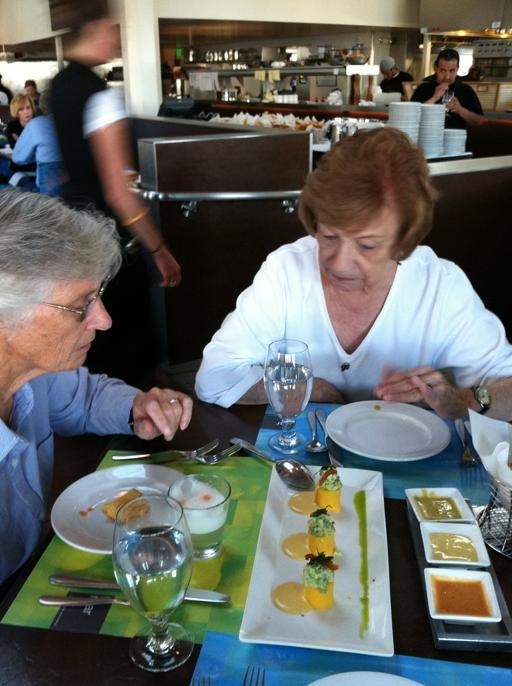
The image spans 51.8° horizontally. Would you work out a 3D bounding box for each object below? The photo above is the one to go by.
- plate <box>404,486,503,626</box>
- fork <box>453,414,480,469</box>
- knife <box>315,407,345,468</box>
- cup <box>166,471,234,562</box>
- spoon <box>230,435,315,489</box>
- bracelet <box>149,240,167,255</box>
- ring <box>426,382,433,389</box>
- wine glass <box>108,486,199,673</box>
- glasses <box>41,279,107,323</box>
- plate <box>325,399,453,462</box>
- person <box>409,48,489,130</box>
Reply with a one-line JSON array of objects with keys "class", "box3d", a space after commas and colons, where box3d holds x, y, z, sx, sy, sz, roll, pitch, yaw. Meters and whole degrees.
[{"class": "plate", "box3d": [0.243, 0.256, 0.650, 0.065, 0.018, 0.193, 4, 24, 5]}, {"class": "fork", "box3d": [0.381, 0.183, 0.950, 0.058, 0.027, 0.079, 8, 16, 17]}, {"class": "knife", "box3d": [0.135, 0.167, 1.018, 0.020, 0.139, 0.011, -17, 40, 7]}, {"class": "cup", "box3d": [-0.065, 0.220, 0.689, 0.093, 0.092, 0.094, -1, 13, 0]}, {"class": "spoon", "box3d": [0.031, 0.185, 0.876, 0.047, 0.019, 0.156, -14, 23, -33]}, {"class": "bracelet", "box3d": [-0.433, -0.423, 2.335, 0.054, 0.049, 0.049, -8, 50, -8]}, {"class": "ring", "box3d": [0.364, 0.089, 1.106, 0.012, 0.010, 0.012, 0, -2, 0]}, {"class": "wine glass", "box3d": [-0.101, 0.249, 0.530, 0.068, 0.134, 0.062, -8, 9, -33]}, {"class": "glasses", "box3d": [-0.285, -0.063, 0.803, 0.067, 0.018, 0.061, 8, 42, -1]}, {"class": "plate", "box3d": [0.240, 0.166, 0.978, 0.220, 0.030, 0.222, 11, 23, 26]}, {"class": "person", "box3d": [1.693, -2.138, 4.720, 0.576, 0.769, 0.507, 8, 27, 21]}]
